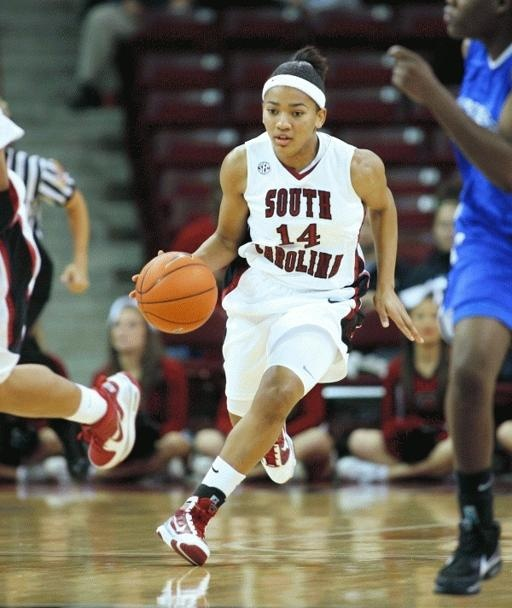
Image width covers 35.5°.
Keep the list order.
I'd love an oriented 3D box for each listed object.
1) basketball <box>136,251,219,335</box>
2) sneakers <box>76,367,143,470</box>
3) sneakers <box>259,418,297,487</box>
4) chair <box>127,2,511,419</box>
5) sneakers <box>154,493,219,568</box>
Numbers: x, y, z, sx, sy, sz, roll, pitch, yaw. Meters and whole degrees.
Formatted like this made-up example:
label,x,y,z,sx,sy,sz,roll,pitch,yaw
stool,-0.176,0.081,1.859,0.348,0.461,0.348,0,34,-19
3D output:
label,x,y,z,sx,sy,sz,roll,pitch,yaw
basketball,-0.242,-0.033,2.437,0.239,0.217,0.169,0,35,8
sneakers,-0.538,0.429,2.893,0.168,0.354,0.210,29,34,32
sneakers,0.057,0.533,2.868,0.104,0.234,0.116,12,36,35
chair,0.243,-1.402,7.396,3.677,3.735,1.587,-2,-10,3
sneakers,-0.185,0.650,2.198,0.166,0.210,0.192,-2,34,7
